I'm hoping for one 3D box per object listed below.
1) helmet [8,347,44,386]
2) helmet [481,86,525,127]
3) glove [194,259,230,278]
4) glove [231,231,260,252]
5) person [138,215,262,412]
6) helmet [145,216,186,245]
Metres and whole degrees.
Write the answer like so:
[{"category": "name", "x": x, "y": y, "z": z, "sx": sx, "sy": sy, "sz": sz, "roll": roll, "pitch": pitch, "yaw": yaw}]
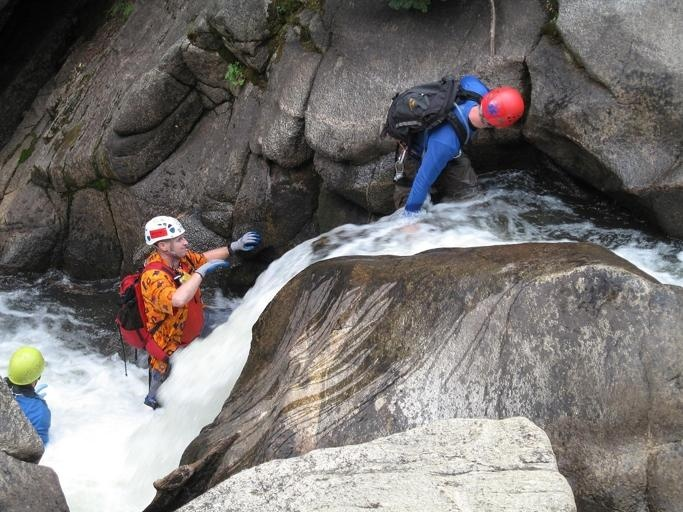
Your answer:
[{"category": "helmet", "x": -3.366, "y": 1.064, "z": 11.523, "sx": 0.305, "sy": 0.203, "sz": 0.406, "roll": 5, "pitch": 56, "yaw": -16}, {"category": "helmet", "x": 1.646, "y": -1.529, "z": 11.196, "sx": 0.431, "sy": 0.336, "sz": 0.348, "roll": 2, "pitch": 7, "yaw": -43}, {"category": "glove", "x": -1.447, "y": 0.058, "z": 12.135, "sx": 0.334, "sy": 0.250, "sz": 0.107, "roll": -19, "pitch": 90, "yaw": -30}, {"category": "glove", "x": -1.140, "y": -0.278, "z": 12.819, "sx": 0.284, "sy": 0.217, "sz": 0.091, "roll": -30, "pitch": 64, "yaw": 15}, {"category": "person", "x": -1.613, "y": 0.543, "z": 12.279, "sx": 1.070, "sy": 2.010, "sz": 1.062, "roll": 0, "pitch": 45, "yaw": -2}, {"category": "helmet", "x": -1.961, "y": -0.374, "z": 11.991, "sx": 0.346, "sy": 0.231, "sz": 0.279, "roll": 5, "pitch": 9, "yaw": 0}]
